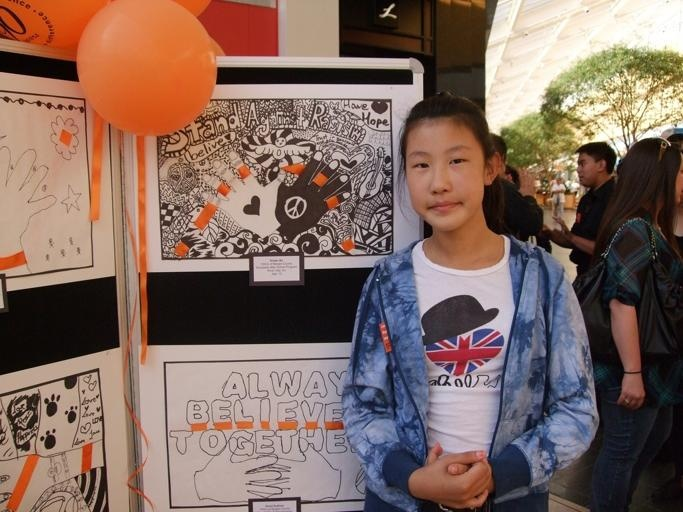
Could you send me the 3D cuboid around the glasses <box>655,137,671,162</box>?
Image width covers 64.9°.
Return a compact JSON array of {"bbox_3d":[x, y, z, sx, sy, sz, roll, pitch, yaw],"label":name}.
[{"bbox_3d":[1.350,-0.466,2.345,0.022,0.100,0.072,12,17,14],"label":"glasses"}]
